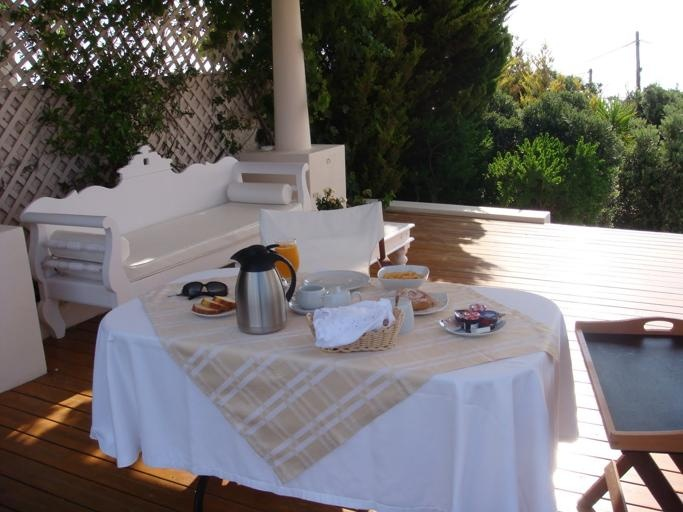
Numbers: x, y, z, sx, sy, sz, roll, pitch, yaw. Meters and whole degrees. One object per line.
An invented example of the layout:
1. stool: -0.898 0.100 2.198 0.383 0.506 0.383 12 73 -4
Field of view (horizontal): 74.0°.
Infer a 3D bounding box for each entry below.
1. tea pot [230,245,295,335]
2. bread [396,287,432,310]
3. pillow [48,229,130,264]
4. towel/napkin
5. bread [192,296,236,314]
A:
1. tea pot: -0.210 0.082 1.207 0.128 0.244 0.142 -1 19 -11
2. bread: 0.204 0.107 1.257 0.061 0.021 0.065 9 18 19
3. pillow: -1.443 -0.053 2.529 0.524 0.158 0.124 4 11 24
4. towel/napkin: 0.022 0.132 1.062 0.144 0.051 0.112 -13 17 -16
5. bread: -0.363 0.143 1.297 0.064 0.019 0.073 3 10 6
